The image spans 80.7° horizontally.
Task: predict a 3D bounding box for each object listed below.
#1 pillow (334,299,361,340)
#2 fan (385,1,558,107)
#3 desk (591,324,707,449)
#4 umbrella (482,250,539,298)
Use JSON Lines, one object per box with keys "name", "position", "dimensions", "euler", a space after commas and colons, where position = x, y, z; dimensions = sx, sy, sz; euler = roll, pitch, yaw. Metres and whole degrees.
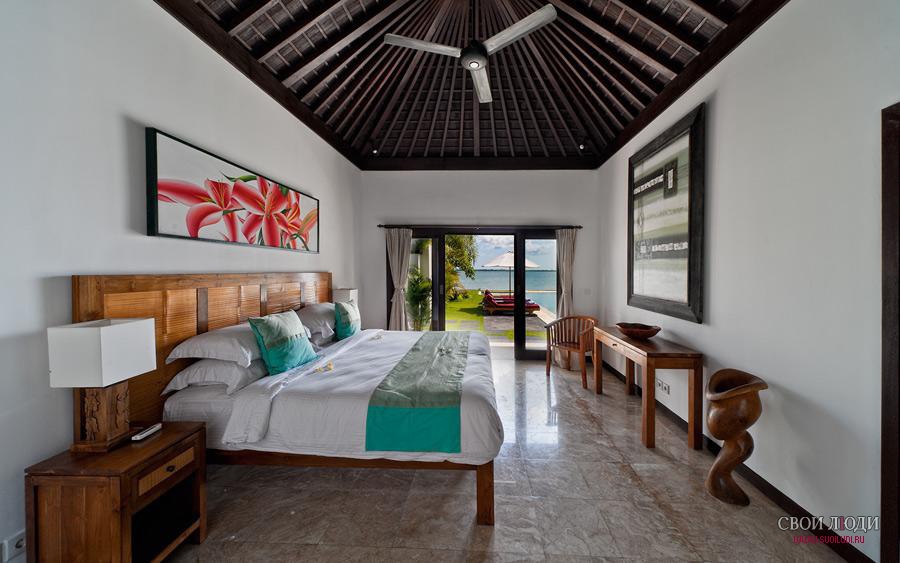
{"name": "pillow", "position": [-1.249, 0.466, 6.421], "dimensions": [0.170, 0.412, 0.448], "euler": [-12, -3, 13]}
{"name": "fan", "position": [0.267, -2.248, 5.090], "dimensions": [1.232, 0.214, 1.339], "euler": [-15, -12, 15]}
{"name": "desk", "position": [2.233, 1.109, 6.217], "dimensions": [0.595, 0.972, 1.770], "euler": [-2, 5, -2]}
{"name": "umbrella", "position": [0.914, -0.131, 7.947], "dimensions": [0.655, 0.563, 0.643], "euler": [0, -6, 3]}
